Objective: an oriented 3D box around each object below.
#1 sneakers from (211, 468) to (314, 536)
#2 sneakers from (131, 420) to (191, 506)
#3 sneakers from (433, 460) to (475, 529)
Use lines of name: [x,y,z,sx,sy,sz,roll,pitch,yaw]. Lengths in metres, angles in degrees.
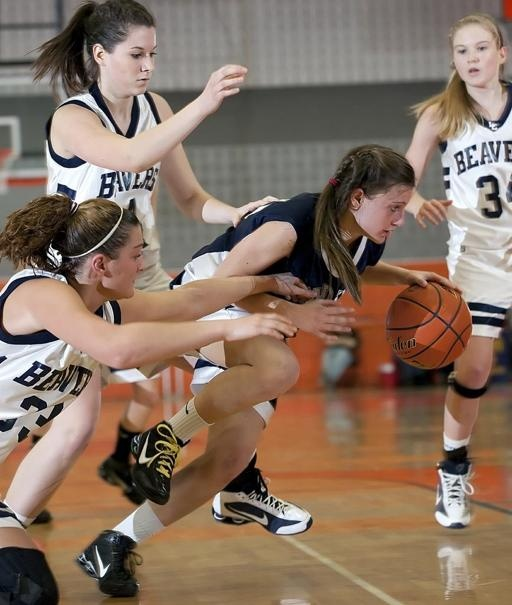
sneakers: [0.023,0.586,2.029,0.325,0.154,0.104,2,10,32]
sneakers: [-0.238,0.408,1.786,0.088,0.124,0.252,44,1,-39]
sneakers: [0.684,0.642,2.326,0.144,0.106,0.350,-7,11,19]
